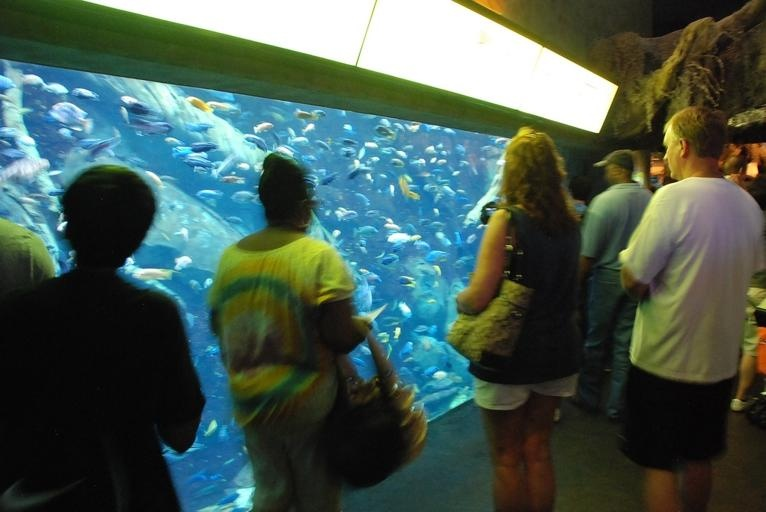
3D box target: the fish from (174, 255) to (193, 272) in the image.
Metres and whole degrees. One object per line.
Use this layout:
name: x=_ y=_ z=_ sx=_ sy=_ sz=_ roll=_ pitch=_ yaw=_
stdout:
fish: x=-2.661 y=0.107 z=7.355 sx=0.334 sy=0.119 sz=0.359 roll=-4 pitch=-6 yaw=-13

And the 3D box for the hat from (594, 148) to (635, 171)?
hat: x=1.817 y=-0.743 z=4.340 sx=0.269 sy=0.105 sz=0.153 roll=8 pitch=12 yaw=17

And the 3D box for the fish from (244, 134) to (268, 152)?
fish: x=-1.057 y=-0.920 z=4.542 sx=0.156 sy=0.099 sz=0.319 roll=-12 pitch=28 yaw=-39

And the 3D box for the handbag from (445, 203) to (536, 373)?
handbag: x=0.670 y=0.215 z=3.366 sx=0.474 sy=0.975 sz=0.140 roll=8 pitch=12 yaw=11

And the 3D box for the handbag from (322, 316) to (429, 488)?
handbag: x=-0.168 y=0.830 z=3.215 sx=0.645 sy=0.335 sz=0.875 roll=-32 pitch=34 yaw=-4

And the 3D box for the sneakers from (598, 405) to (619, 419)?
sneakers: x=1.923 y=1.342 z=4.705 sx=0.120 sy=0.046 sz=0.142 roll=3 pitch=-20 yaw=21

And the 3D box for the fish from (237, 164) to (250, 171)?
fish: x=-2.842 y=-1.806 z=11.314 sx=0.166 sy=0.040 sz=0.143 roll=-2 pitch=-10 yaw=4

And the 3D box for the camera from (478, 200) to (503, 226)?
camera: x=0.678 y=-0.262 z=3.466 sx=0.133 sy=0.089 sz=0.170 roll=-8 pitch=16 yaw=44
